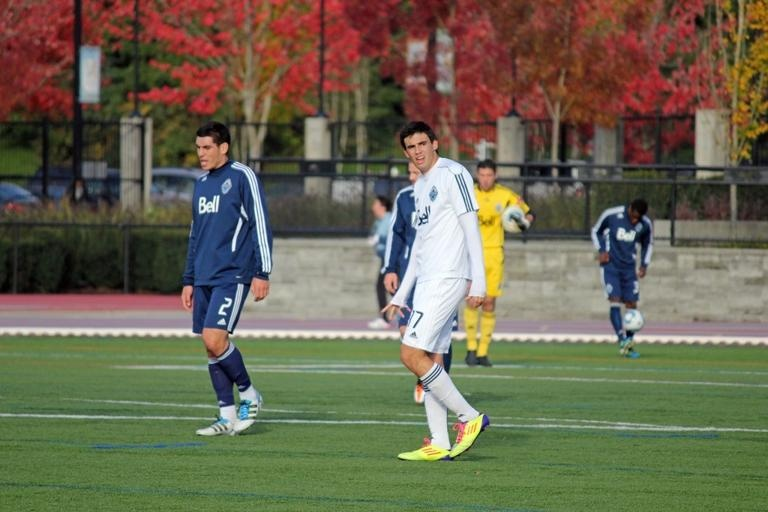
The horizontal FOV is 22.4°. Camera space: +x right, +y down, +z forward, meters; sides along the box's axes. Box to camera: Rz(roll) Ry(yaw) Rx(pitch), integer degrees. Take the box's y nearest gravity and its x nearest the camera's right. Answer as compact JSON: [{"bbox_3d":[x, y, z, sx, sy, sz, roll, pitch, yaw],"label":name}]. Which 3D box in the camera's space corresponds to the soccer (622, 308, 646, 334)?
[{"bbox_3d":[5.192,1.345,40.316,0.385,0.477,0.477,-4,-7,7],"label":"soccer"}]

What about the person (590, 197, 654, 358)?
[{"bbox_3d":[5.036,0.396,41.031,1.139,3.107,1.487,0,1,2],"label":"person"}]
